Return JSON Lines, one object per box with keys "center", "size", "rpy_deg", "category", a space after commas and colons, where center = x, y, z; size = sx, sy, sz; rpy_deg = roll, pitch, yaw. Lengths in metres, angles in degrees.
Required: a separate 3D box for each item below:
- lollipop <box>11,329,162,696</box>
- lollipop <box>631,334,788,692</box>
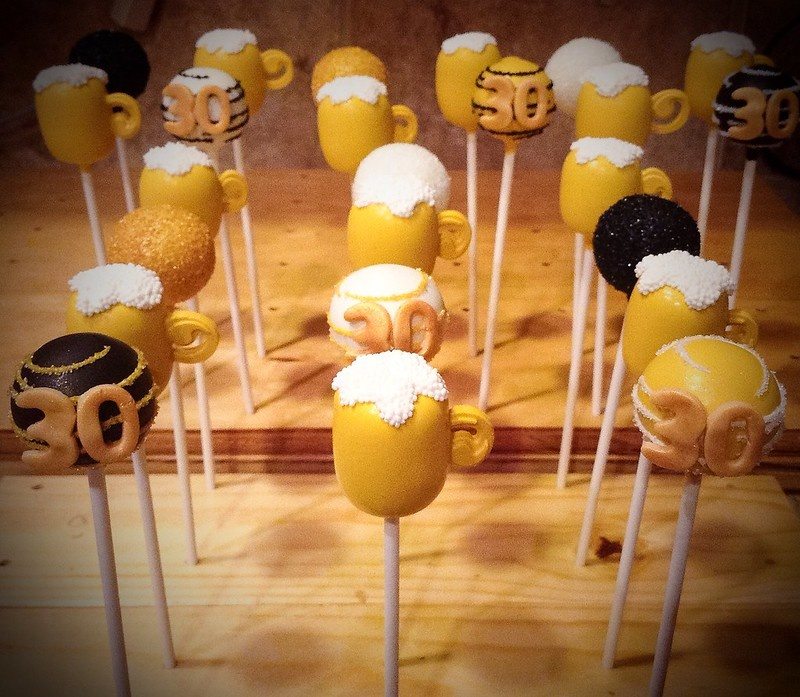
{"center": [-0.535, 0.311, 1.893], "size": [0.243, 0.707, 0.217], "rpy_deg": [-11, 29, -24], "category": "lollipop"}
{"center": [0.524, 0.350, 1.945], "size": [0.256, 0.768, 0.243], "rpy_deg": [8, 27, 12], "category": "lollipop"}
